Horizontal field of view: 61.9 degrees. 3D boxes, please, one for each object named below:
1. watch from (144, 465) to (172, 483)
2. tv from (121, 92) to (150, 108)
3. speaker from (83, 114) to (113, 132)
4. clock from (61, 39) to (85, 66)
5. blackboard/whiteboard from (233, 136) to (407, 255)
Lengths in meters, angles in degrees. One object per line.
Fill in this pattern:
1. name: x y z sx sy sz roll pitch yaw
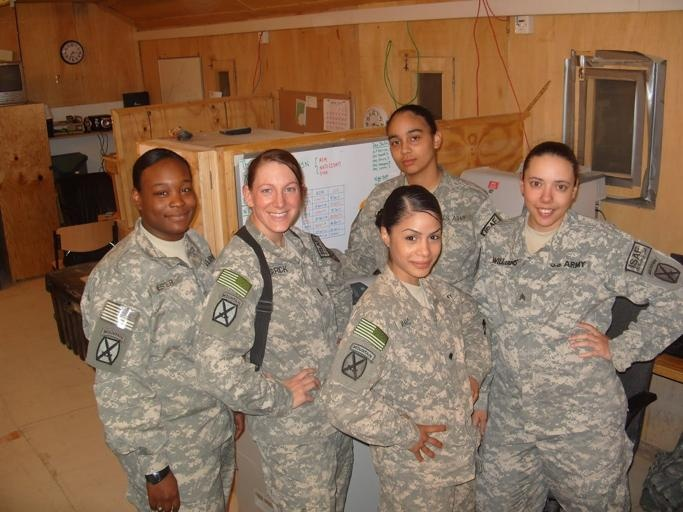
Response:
1. watch: -0.783 0.931 2.424 0.063 0.040 0.082 -20 2 -7
2. tv: -3.272 -2.506 9.092 0.366 0.229 0.592 -5 13 -14
3. speaker: -3.802 -2.056 8.855 0.396 0.244 0.271 -7 13 -24
4. clock: -4.320 -3.259 9.144 0.050 0.380 0.392 8 15 40
5. blackboard/whiteboard: -0.125 -0.315 2.995 0.672 0.480 0.036 -11 16 -29
